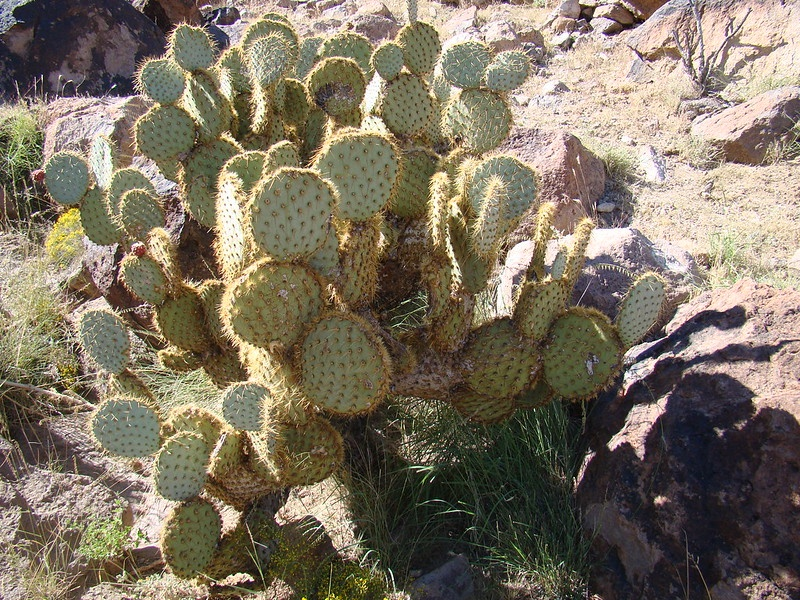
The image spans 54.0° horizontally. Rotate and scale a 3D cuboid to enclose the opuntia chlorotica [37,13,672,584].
[{"bbox_3d":[-0.376,-0.066,5.888,3.092,1.857,3.892,-7,56,0],"label":"opuntia chlorotica"}]
